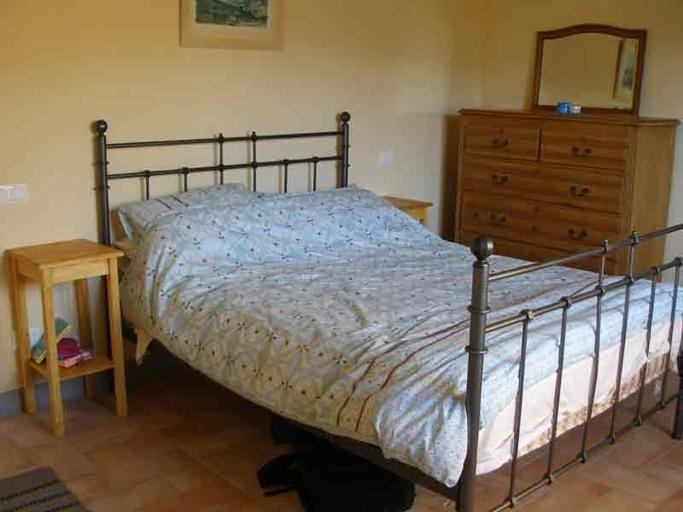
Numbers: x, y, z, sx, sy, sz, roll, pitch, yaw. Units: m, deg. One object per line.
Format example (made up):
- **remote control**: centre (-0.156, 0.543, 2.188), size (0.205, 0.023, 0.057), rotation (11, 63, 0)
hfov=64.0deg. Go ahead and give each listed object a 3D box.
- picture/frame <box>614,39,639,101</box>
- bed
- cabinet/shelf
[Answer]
- **picture/frame**: centre (2.067, -1.341, 3.974), size (0.144, 0.463, 0.089), rotation (12, 21, 33)
- **bed**: centre (0.605, -0.064, 3.318), size (3.336, 1.510, 2.737), rotation (-15, 22, -42)
- **cabinet/shelf**: centre (1.593, -0.423, 3.703), size (0.447, 1.077, 1.132), rotation (-11, 18, -39)
